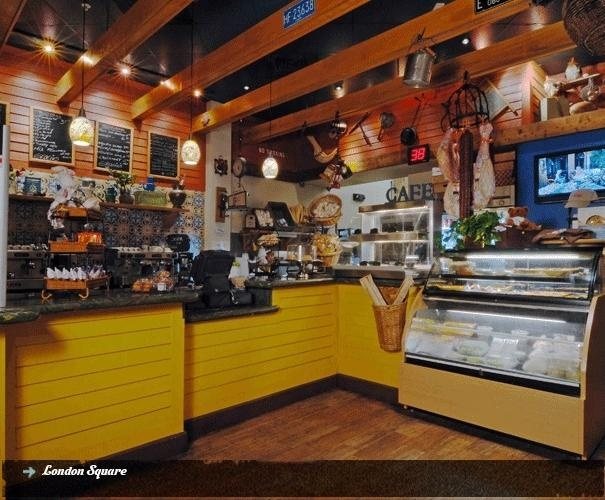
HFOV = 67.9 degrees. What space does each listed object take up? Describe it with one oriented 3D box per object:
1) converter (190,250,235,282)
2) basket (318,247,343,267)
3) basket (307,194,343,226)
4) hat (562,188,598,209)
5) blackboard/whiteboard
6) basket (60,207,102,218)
[{"bbox_3d":[-0.847,0.158,4.339,0.410,0.329,0.181,-7,12,-39],"label":"converter"},{"bbox_3d":[0.378,0.087,5.552,0.253,0.200,0.362,8,12,42],"label":"basket"},{"bbox_3d":[0.338,-0.569,6.339,0.415,0.432,0.451,-2,9,-10],"label":"basket"},{"bbox_3d":[3.142,-0.587,5.061,0.286,0.203,0.258,3,9,22],"label":"hat"},{"bbox_3d":[-3.120,-1.562,6.420,0.232,1.032,1.923,9,12,42],"label":"blackboard/whiteboard"},{"bbox_3d":[-1.868,-0.311,3.772,0.359,0.110,0.174,-5,10,-34],"label":"basket"}]
